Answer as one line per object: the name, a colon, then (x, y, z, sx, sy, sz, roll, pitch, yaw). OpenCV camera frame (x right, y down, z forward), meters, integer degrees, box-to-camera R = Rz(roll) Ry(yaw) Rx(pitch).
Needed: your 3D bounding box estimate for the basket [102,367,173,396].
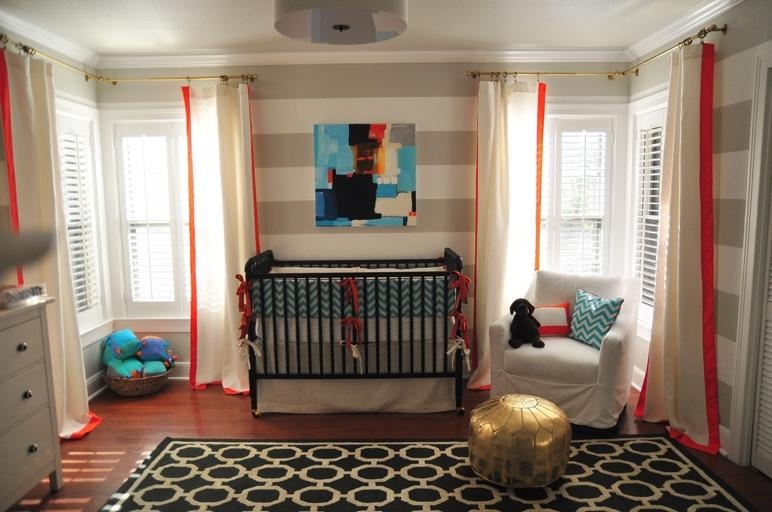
basket: (-2.201, 1.147, 5.024, 0.348, 0.124, 0.302, 1, -2, -18)

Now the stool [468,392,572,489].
stool: (0.941, 1.225, 3.953, 0.609, 0.414, 0.602, -6, 8, -31)

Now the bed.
bed: (-0.247, 0.702, 5.157, 1.801, 1.280, 1.252, -1, -3, 1)

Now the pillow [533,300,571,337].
pillow: (1.402, 0.544, 4.773, 0.279, 0.230, 0.104, 1, -30, 10)

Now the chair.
chair: (1.559, 0.636, 4.972, 1.171, 1.221, 1.237, 2, 8, 25)

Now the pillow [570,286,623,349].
pillow: (1.723, 0.559, 4.718, 0.391, 0.469, 0.239, 19, 12, 41)

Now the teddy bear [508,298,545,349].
teddy bear: (1.139, 0.557, 4.676, 0.280, 0.387, 0.316, -5, 8, 6)
